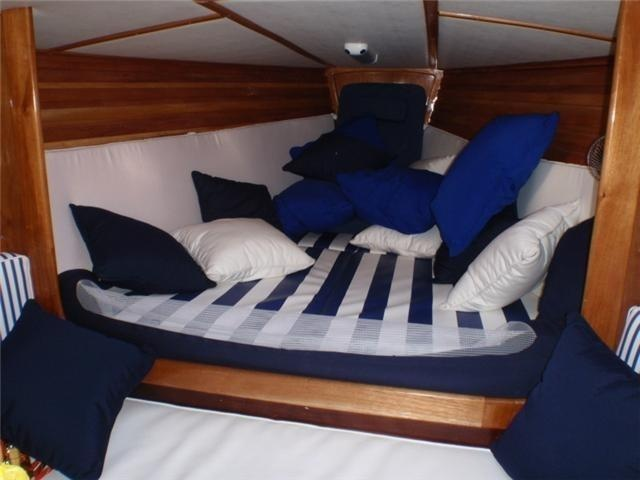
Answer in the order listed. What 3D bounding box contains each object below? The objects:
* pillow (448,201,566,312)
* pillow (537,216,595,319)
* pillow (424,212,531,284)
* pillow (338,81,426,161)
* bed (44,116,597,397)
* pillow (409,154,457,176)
[{"bbox_3d":[0.918,0.201,2.155,0.452,0.333,0.915,-4,-10,32],"label":"pillow"},{"bbox_3d":[0.921,0.111,1.723,0.102,0.322,0.314,7,-15,26],"label":"pillow"},{"bbox_3d":[0.664,0.034,2.053,0.115,0.336,0.365,22,21,-11],"label":"pillow"},{"bbox_3d":[0.550,-0.905,3.770,0.927,0.804,0.203,2,0,17],"label":"pillow"},{"bbox_3d":[0.247,-0.151,2.567,2.250,0.702,2.172,9,29,9],"label":"bed"},{"bbox_3d":[0.707,-0.476,2.886,0.220,0.062,0.210,-7,25,44],"label":"pillow"}]
